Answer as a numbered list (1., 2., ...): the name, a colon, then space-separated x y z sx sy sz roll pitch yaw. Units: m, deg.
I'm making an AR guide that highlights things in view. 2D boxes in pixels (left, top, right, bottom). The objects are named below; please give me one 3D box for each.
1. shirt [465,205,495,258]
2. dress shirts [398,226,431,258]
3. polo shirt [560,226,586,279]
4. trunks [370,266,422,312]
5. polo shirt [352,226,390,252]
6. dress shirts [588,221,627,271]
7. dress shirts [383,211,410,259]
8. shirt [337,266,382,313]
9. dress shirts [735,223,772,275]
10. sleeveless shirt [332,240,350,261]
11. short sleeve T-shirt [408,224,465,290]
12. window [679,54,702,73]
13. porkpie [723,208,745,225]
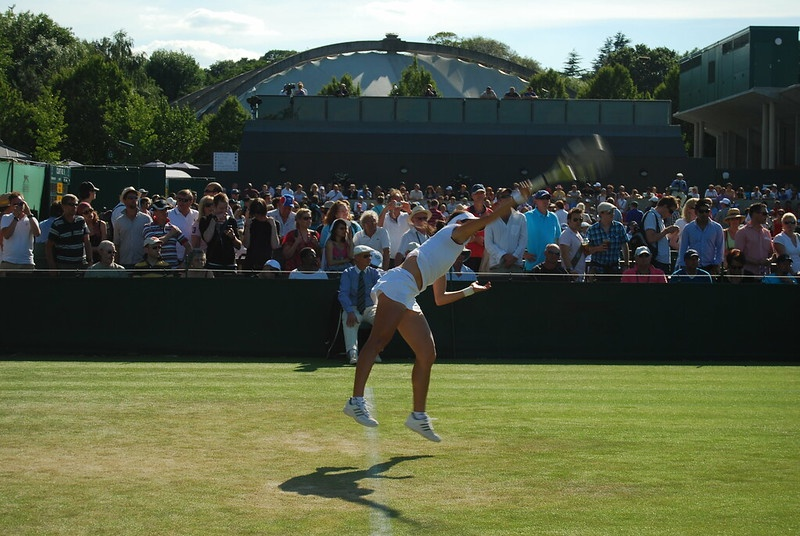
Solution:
1. shirt: 2.102 -0.950 40.009 0.985 1.270 0.351 0 0 10
2. dress shirts: 0.346 -0.669 36.988 0.835 0.599 0.449 -6 23 -45
3. polo shirt: 4.698 -0.315 39.314 0.663 1.555 1.323 -7 -12 16
4. trunks: -0.183 0.391 33.207 0.629 0.755 1.112 26 16 21
5. polo shirt: -0.817 -0.790 38.989 1.290 0.948 0.604 0 4 -10
6. dress shirts: 5.615 -0.582 38.947 1.452 1.788 0.754 0 -4 -3
7. dress shirts: -0.137 -0.987 40.065 0.924 1.299 0.814 -8 -8 4
8. shirt: -0.991 0.638 37.581 1.326 1.286 0.904 -1 7 -18
9. dress shirts: 9.724 -0.506 39.100 1.305 1.476 0.813 1 -4 -29
10. sleeveless shirt: -1.654 -0.456 38.197 0.572 0.492 0.303 1 -6 -20
11. short sleeve T-shirt: 0.775 -0.229 33.045 1.709 0.946 0.505 -33 -22 -6
12. window: 16.490 -11.841 81.487 0.963 0.829 0.231 -6 3 42
13. porkpie: 9.242 -1.446 39.594 0.504 0.242 0.464 -1 -3 -4
